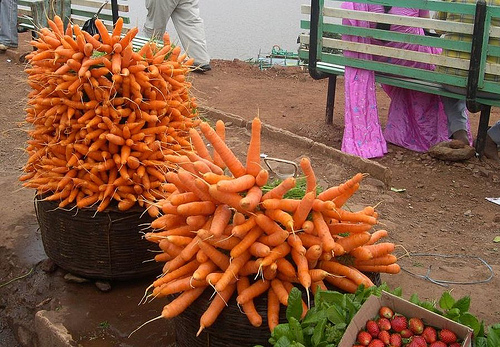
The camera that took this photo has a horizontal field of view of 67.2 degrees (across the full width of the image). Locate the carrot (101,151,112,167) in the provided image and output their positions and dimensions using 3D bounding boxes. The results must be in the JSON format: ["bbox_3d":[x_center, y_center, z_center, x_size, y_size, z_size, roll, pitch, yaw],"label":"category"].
[{"bbox_3d":[-1.222,-0.118,3.177,0.069,0.086,0.169,-11,18,-5],"label":"carrot"}]

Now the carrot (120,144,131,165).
[{"bbox_3d":[-1.041,-0.153,3.177,0.063,0.063,0.164,4,61,2],"label":"carrot"}]

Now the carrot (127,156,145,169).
[{"bbox_3d":[-0.993,-0.090,3.243,0.069,0.060,0.120,-13,-22,24],"label":"carrot"}]

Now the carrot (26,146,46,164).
[{"bbox_3d":[-1.945,-0.166,3.414,0.248,0.066,0.067,-34,42,14],"label":"carrot"}]

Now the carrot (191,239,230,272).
[{"bbox_3d":[-0.224,0.511,2.375,0.317,0.104,0.083,43,8,-10],"label":"carrot"}]

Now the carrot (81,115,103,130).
[{"bbox_3d":[-1.286,-0.411,3.052,0.193,0.051,0.050,-43,22,-4],"label":"carrot"}]

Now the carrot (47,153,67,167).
[{"bbox_3d":[-1.665,-0.097,3.255,0.174,0.050,0.050,39,20,-5],"label":"carrot"}]

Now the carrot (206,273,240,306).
[{"bbox_3d":[-0.187,0.658,2.350,0.081,0.314,0.077,-33,-7,4],"label":"carrot"}]

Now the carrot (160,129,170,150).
[{"bbox_3d":[-0.748,-0.295,3.302,0.035,0.177,0.044,13,3,32],"label":"carrot"}]

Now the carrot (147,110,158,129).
[{"bbox_3d":[-0.849,-0.464,3.250,0.097,0.131,0.072,2,16,-3],"label":"carrot"}]

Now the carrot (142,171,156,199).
[{"bbox_3d":[-0.887,0.112,3.254,0.036,0.210,0.036,-11,-1,-1],"label":"carrot"}]

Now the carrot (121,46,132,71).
[{"bbox_3d":[-1.015,-0.933,3.066,0.096,0.184,0.056,-2,21,-9],"label":"carrot"}]

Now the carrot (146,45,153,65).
[{"bbox_3d":[-0.865,-1.003,3.213,0.044,0.157,0.048,0,8,5],"label":"carrot"}]

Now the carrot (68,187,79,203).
[{"bbox_3d":[-1.535,0.192,3.292,0.040,0.145,0.043,25,-16,13],"label":"carrot"}]

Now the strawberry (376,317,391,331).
[{"bbox_3d":[0.790,0.887,2.219,0.051,0.052,0.067,-14,37,-40],"label":"strawberry"}]

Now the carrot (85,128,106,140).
[{"bbox_3d":[-1.277,-0.322,3.087,0.168,0.051,0.051,-27,66,-17],"label":"carrot"}]

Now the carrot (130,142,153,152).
[{"bbox_3d":[-0.935,-0.218,3.185,0.201,0.064,0.068,14,-7,5],"label":"carrot"}]

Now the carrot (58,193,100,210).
[{"bbox_3d":[-1.445,0.237,3.187,0.350,0.083,0.071,-27,1,-23],"label":"carrot"}]

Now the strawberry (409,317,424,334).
[{"bbox_3d":[0.968,0.880,2.180,0.062,0.084,0.063,-33,41,-7],"label":"strawberry"}]

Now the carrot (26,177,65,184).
[{"bbox_3d":[-1.807,0.065,3.327,0.258,0.037,0.039,-3,16,8],"label":"carrot"}]

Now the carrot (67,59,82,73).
[{"bbox_3d":[-1.415,-0.855,3.002,0.057,0.058,0.133,35,-7,-21],"label":"carrot"}]

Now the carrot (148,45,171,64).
[{"bbox_3d":[-0.788,-1.065,3.354,0.069,0.061,0.286,36,52,12],"label":"carrot"}]

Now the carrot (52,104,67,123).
[{"bbox_3d":[-1.588,-0.493,3.116,0.035,0.163,0.038,20,-14,16],"label":"carrot"}]

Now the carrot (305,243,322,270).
[{"bbox_3d":[0.395,0.516,2.362,0.054,0.187,0.052,-33,66,-19],"label":"carrot"}]

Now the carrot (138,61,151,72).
[{"bbox_3d":[-0.887,-0.878,3.118,0.046,0.102,0.080,-11,15,-35],"label":"carrot"}]

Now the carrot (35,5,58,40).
[{"bbox_3d":[-1.842,-1.308,3.334,0.074,0.387,0.089,-32,-9,14],"label":"carrot"}]

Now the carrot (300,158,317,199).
[{"bbox_3d":[0.388,0.001,2.422,0.066,0.335,0.079,1,22,36],"label":"carrot"}]

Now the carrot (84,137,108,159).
[{"bbox_3d":[-1.269,-0.216,3.108,0.050,0.056,0.245,-8,35,32],"label":"carrot"}]

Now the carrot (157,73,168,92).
[{"bbox_3d":[-0.753,-0.774,3.222,0.042,0.164,0.046,-23,0,-4],"label":"carrot"}]

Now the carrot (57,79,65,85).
[{"bbox_3d":[-1.547,-0.735,3.042,0.028,0.022,0.037,14,39,21],"label":"carrot"}]

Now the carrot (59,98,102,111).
[{"bbox_3d":[-1.405,-0.563,3.092,0.260,0.072,0.060,10,6,-4],"label":"carrot"}]

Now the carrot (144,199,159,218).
[{"bbox_3d":[-0.822,0.310,3.154,0.058,0.063,0.193,-13,33,-21],"label":"carrot"}]

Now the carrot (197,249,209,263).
[{"bbox_3d":[-0.304,0.516,2.368,0.047,0.040,0.092,-16,14,-8],"label":"carrot"}]

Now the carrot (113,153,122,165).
[{"bbox_3d":[-1.125,-0.118,3.173,0.045,0.047,0.099,-13,56,-12],"label":"carrot"}]

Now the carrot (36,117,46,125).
[{"bbox_3d":[-1.790,-0.443,3.224,0.049,0.028,0.043,-35,-12,26],"label":"carrot"}]

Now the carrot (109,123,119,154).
[{"bbox_3d":[-1.149,-0.291,3.166,0.065,0.252,0.066,2,16,7],"label":"carrot"}]

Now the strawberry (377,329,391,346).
[{"bbox_3d":[0.778,0.942,2.171,0.056,0.072,0.068,-15,32,1],"label":"strawberry"}]

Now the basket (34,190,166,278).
[{"bbox_3d":[-1.374,0.588,3.942,1.356,0.674,1.253,-1,9,-20],"label":"basket"}]

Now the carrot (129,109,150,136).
[{"bbox_3d":[-0.939,-0.406,3.197,0.073,0.265,0.075,24,1,13],"label":"carrot"}]

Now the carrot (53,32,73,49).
[{"bbox_3d":[-1.534,-1.055,3.078,0.063,0.052,0.233,3,48,-56],"label":"carrot"}]

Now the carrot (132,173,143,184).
[{"bbox_3d":[-0.993,0.049,3.287,0.061,0.087,0.023,5,11,-3],"label":"carrot"}]

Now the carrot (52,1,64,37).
[{"bbox_3d":[-1.713,-1.355,3.369,0.066,0.342,0.070,-27,-17,40],"label":"carrot"}]

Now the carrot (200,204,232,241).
[{"bbox_3d":[-0.193,0.286,2.313,0.068,0.072,0.268,14,38,10],"label":"carrot"}]

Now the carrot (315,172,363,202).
[{"bbox_3d":[0.583,0.122,2.475,0.094,0.101,0.414,-19,-14,-33],"label":"carrot"}]

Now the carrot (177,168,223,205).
[{"bbox_3d":[-0.310,0.084,2.352,0.315,0.083,0.063,40,-14,-34],"label":"carrot"}]

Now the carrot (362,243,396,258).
[{"bbox_3d":[0.813,0.509,2.510,0.294,0.100,0.080,-7,-14,4],"label":"carrot"}]

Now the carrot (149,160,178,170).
[{"bbox_3d":[-0.731,-0.072,3.121,0.261,0.048,0.046,9,5,8],"label":"carrot"}]

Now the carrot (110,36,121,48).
[{"bbox_3d":[-1.113,-1.079,3.099,0.095,0.084,0.071,-17,27,-40],"label":"carrot"}]

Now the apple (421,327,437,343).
[{"bbox_3d":[1.032,0.924,2.157,0.078,0.063,0.050,14,24,29],"label":"apple"}]

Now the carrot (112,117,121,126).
[{"bbox_3d":[-1.114,-0.422,3.102,0.028,0.028,0.097,-16,22,3],"label":"carrot"}]

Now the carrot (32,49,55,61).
[{"bbox_3d":[-1.749,-0.993,3.176,0.196,0.061,0.057,-20,35,-2],"label":"carrot"}]
